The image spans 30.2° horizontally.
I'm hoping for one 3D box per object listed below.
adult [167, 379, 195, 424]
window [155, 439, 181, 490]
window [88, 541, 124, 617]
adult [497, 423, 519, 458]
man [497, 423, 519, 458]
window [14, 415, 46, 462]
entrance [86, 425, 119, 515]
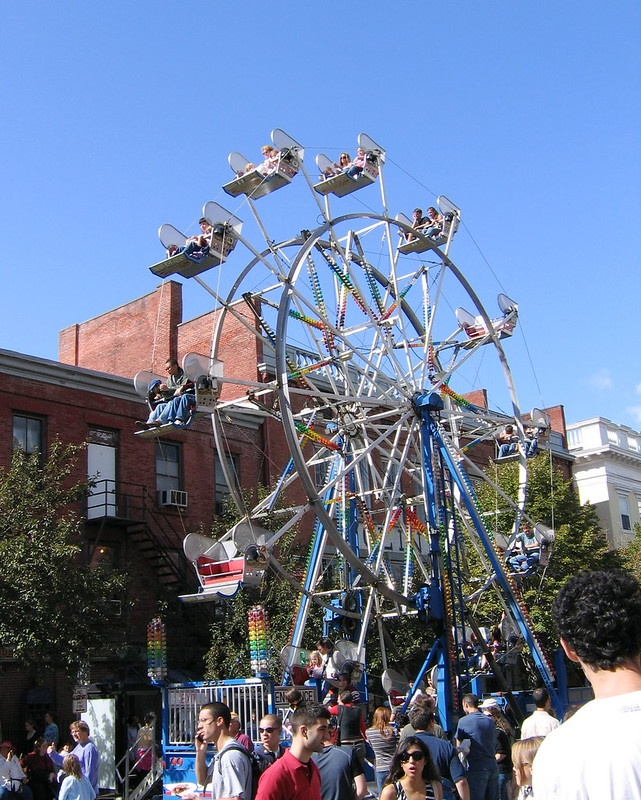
[{"bbox_3d":[-2.150,0.065,18.505,0.446,0.698,0.195,-14,-20,25],"label":"adult"},{"bbox_3d":[-3.714,1.596,28.484,0.080,1.254,1.250,-13,-15,25],"label":"window"},{"bbox_3d":[-4.308,3.600,23.576,0.804,1.353,1.128,7,-39,-15],"label":"window"},{"bbox_3d":[3.810,0.825,24.050,0.583,0.838,0.319,-3,-39,15],"label":"adult"},{"bbox_3d":[3.810,0.825,24.050,0.583,0.838,0.319,-3,-39,15],"label":"man"},{"bbox_3d":[-6.039,0.832,24.478,0.055,1.036,1.066,-22,-15,26],"label":"window"},{"bbox_3d":[-4.875,1.734,26.626,1.268,2.146,0.283,-4,-5,41],"label":"entrance"}]
